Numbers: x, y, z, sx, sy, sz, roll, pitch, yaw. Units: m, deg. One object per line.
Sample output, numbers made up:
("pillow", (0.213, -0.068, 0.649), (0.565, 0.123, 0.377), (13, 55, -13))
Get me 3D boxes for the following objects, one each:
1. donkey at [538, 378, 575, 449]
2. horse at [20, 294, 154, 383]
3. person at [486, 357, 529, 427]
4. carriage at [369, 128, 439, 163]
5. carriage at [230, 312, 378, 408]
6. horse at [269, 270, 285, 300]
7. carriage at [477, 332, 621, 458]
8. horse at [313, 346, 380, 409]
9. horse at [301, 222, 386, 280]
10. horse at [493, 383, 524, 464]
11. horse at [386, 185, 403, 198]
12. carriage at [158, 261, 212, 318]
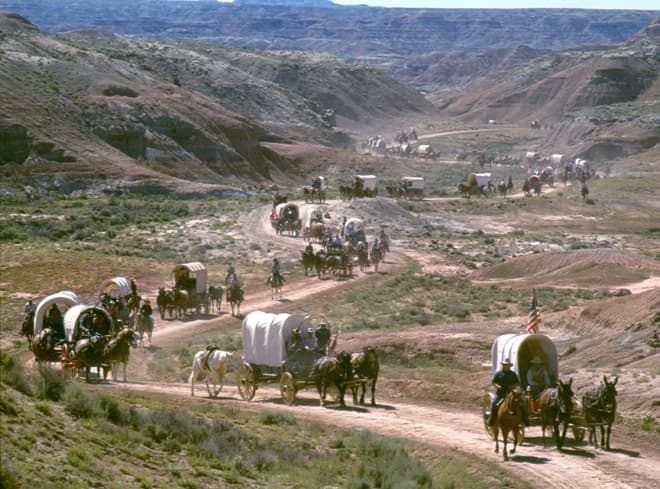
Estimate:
("donkey", (7.140, 5.242, 22.734), (1.091, 2.177, 1.226), (0, 1, 13))
("horse", (-10.756, 3.501, 29.778), (2.336, 2.141, 7.239), (-3, 5, -45))
("person", (5.478, 4.508, 22.153), (1.433, 1.754, 0.992), (-3, 1, 1))
("carriage", (12.952, -18.580, 134.334), (11.170, 3.158, 12.886), (1, 9, -26))
("carriage", (-0.742, 4.064, 26.730), (2.898, 2.943, 6.541), (-4, -5, -35))
("horse", (-3.210, 2.464, 44.027), (0.834, 1.633, 2.006), (-1, 0, -5))
("carriage", (7.234, 4.652, 24.050), (4.988, 3.372, 4.745), (-4, 3, 8))
("horse", (1.003, 4.639, 26.117), (1.406, 1.558, 3.975), (2, -6, -29))
("horse", (0.545, 0.818, 52.140), (6.905, 4.037, 5.361), (-10, 6, 6))
("horse", (5.522, 5.319, 22.075), (1.333, 1.853, 0.994), (-5, 2, 5))
("horse", (7.974, -6.242, 84.319), (1.684, 1.586, 2.012), (4, -4, -42))
("carriage", (-8.148, 2.568, 40.495), (2.735, 3.043, 2.304), (-1, 0, -7))
